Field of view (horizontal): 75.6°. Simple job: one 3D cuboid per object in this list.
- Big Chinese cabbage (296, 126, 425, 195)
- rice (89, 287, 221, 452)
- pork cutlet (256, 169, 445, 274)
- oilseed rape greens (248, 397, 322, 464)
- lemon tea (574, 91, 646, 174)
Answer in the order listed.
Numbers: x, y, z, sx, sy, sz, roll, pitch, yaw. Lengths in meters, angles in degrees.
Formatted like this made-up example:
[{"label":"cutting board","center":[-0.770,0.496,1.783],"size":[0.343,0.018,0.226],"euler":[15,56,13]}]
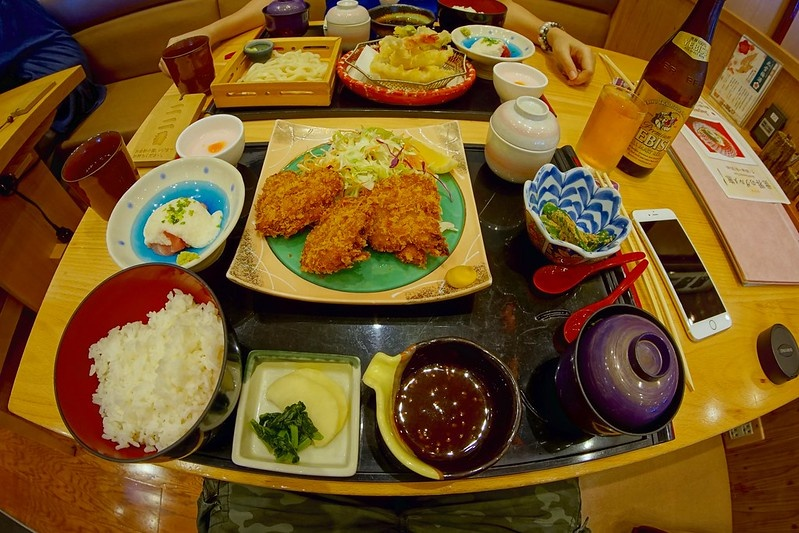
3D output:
[{"label":"Big Chinese cabbage","center":[-0.297,-0.722,3.811],"size":[0.636,0.260,0.577],"euler":[-10,36,-33]},{"label":"rice","center":[-1.473,0.640,3.024],"size":[0.770,0.535,0.999],"euler":[-7,35,-12]},{"label":"pork cutlet","center":[-0.321,-0.343,3.473],"size":[1.041,0.281,0.710],"euler":[-11,55,-5]},{"label":"oilseed rape greens","center":[-0.668,0.946,2.998],"size":[0.309,0.102,0.358],"euler":[-38,72,-16]},{"label":"lemon tea","center":[1.520,-0.989,3.700],"size":[0.378,0.569,0.261],"euler":[22,31,22]}]
